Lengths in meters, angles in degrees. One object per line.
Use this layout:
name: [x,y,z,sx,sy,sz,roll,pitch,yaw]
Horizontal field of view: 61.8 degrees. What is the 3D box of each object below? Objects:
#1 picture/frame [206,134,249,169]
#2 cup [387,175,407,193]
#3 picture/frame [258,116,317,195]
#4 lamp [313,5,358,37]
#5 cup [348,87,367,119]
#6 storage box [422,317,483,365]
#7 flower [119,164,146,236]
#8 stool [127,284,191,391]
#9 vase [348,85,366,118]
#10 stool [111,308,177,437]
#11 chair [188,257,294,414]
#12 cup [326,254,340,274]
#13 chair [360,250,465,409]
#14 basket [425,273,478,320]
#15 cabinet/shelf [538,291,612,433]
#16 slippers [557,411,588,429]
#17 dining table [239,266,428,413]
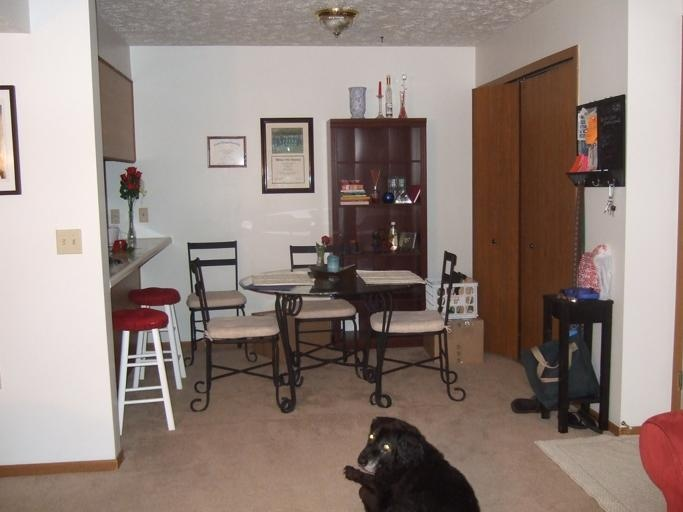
picture/frame: [-1.170,-1.058,5.726,0.312,0.290,0.025,-2,10,-6]
cup: [0.561,-0.709,5.750,0.159,0.253,0.168,1,2,0]
picture/frame: [-0.573,-1.052,5.772,0.718,1.063,0.072,0,9,0]
lamp: [-0.038,-1.679,4.147,0.291,0.199,0.305,-1,13,-1]
cup: [0.149,-1.496,5.628,0.252,0.377,0.268,0,4,0]
storage box: [1.100,0.812,5.440,0.409,0.339,0.426,0,5,6]
flower: [-1.946,-0.515,5.329,0.226,0.610,0.822,-5,12,-20]
stool: [-1.551,0.822,4.692,0.340,0.552,0.340,-8,8,-19]
vase: [0.155,-1.515,5.670,0.199,0.304,0.208,-5,12,-20]
stool: [-1.469,0.800,4.238,0.396,0.915,1.132,-5,12,-21]
chair: [-0.829,0.567,4.863,1.044,1.465,0.983,0,4,-6]
cup: [-0.056,0.063,4.538,0.115,0.144,0.121,0,0,0]
chair: [0.591,0.599,4.988,1.056,1.484,0.974,1,3,-3]
basket: [1.054,0.386,5.466,0.373,0.302,0.391,0,2,2]
cabinet/shelf: [1.667,0.730,4.038,0.418,0.915,0.421,-2,12,-7]
slippers: [1.643,1.170,4.004,0.104,0.052,0.155,0,6,-2]
dining table: [-0.103,0.467,4.681,1.178,0.808,1.235,-1,6,-5]
